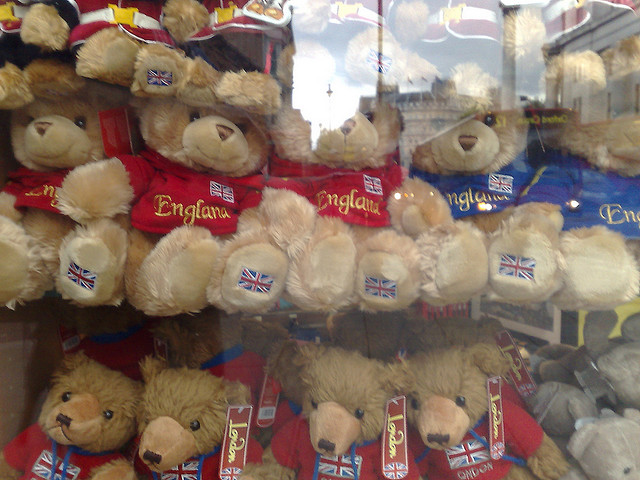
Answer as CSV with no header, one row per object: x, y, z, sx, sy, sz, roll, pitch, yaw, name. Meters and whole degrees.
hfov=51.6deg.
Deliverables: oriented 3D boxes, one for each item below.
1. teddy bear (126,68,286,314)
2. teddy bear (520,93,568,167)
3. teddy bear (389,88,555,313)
-0.221,-0.095,1.232,0.304,0.470,0.269,7,8,-16,teddy bear
0.428,-0.208,1.256,0.098,0.119,0.038,3,8,-18,teddy bear
0.263,-0.017,1.383,0.397,0.493,0.315,-1,-6,4,teddy bear
